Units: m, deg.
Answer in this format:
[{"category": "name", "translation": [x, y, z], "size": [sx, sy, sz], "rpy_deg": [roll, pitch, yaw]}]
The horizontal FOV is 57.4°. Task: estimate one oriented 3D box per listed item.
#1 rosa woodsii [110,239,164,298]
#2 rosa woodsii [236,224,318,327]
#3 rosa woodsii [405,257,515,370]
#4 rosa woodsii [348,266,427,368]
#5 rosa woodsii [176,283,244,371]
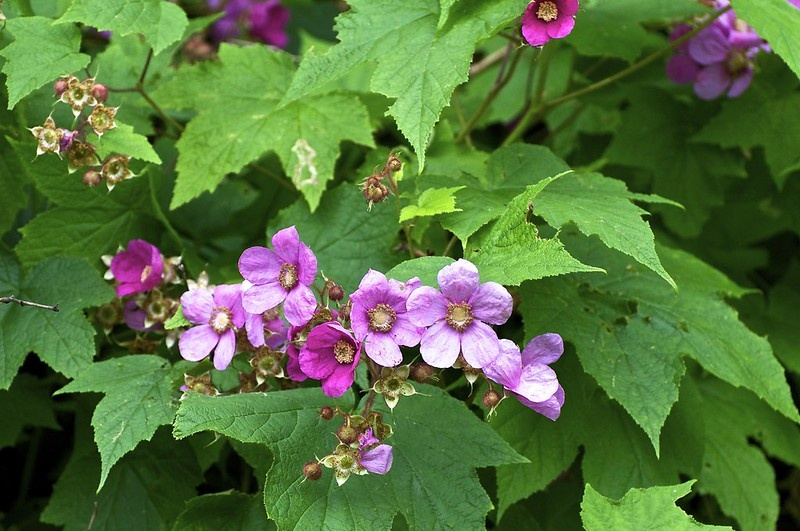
[{"category": "rosa woodsii", "translation": [-0.757, 0.012, 2.101], "size": [0.148, 0.154, 0.099], "rpy_deg": [11, -15, 11]}, {"category": "rosa woodsii", "translation": [-0.303, 0.029, 1.858], "size": [0.242, 0.237, 0.113], "rpy_deg": [20, 27, 19]}, {"category": "rosa woodsii", "translation": [0.140, 0.127, 1.772], "size": [0.243, 0.064, 0.284], "rpy_deg": [8, 57, 4]}, {"category": "rosa woodsii", "translation": [-0.041, 0.121, 1.747], "size": [0.199, 0.080, 0.230], "rpy_deg": [15, 41, 3]}, {"category": "rosa woodsii", "translation": [-0.496, 0.154, 1.938], "size": [0.191, 0.221, 0.068], "rpy_deg": [-2, 0, 25]}]
